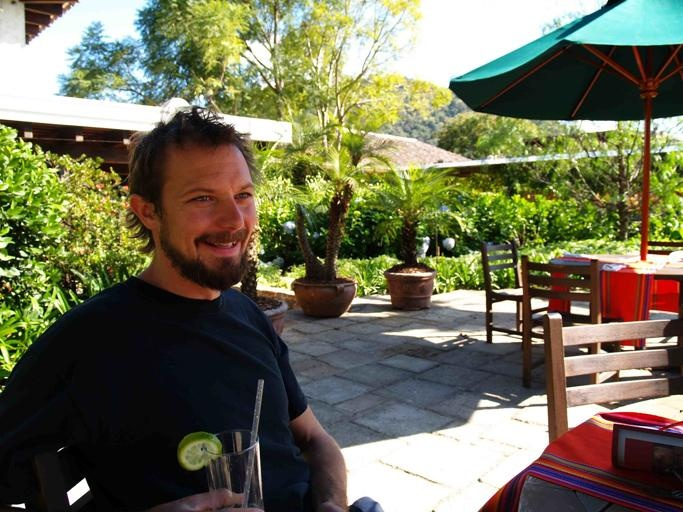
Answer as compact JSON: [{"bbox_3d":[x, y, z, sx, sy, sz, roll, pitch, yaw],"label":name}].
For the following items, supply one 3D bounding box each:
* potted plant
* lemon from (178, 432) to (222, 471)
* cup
[{"bbox_3d":[0.137,-0.341,7.066,2.248,2.777,2.468,5,0,-2],"label":"potted plant"},{"bbox_3d":[-0.405,0.568,1.577,0.128,0.119,0.081,-1,8,-1],"label":"lemon"},{"bbox_3d":[-0.315,0.649,1.604,0.156,0.252,0.106,-3,9,-14],"label":"cup"}]
